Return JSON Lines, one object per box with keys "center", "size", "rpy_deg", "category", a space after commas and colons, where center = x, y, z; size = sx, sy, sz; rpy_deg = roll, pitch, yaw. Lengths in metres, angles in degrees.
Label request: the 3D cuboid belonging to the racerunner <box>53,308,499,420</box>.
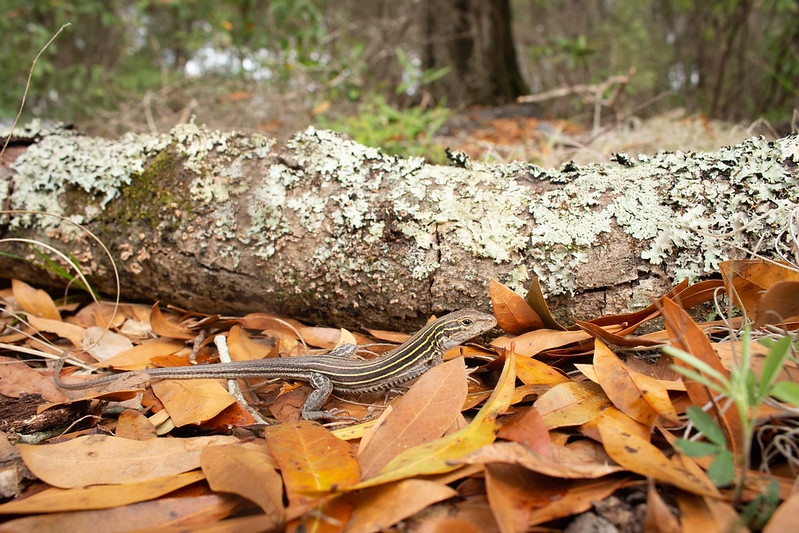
{"center": [-0.938, 0.729, 4.911], "size": [3.775, 0.681, 0.948], "rpy_deg": [-5, 8, 14], "category": "racerunner"}
